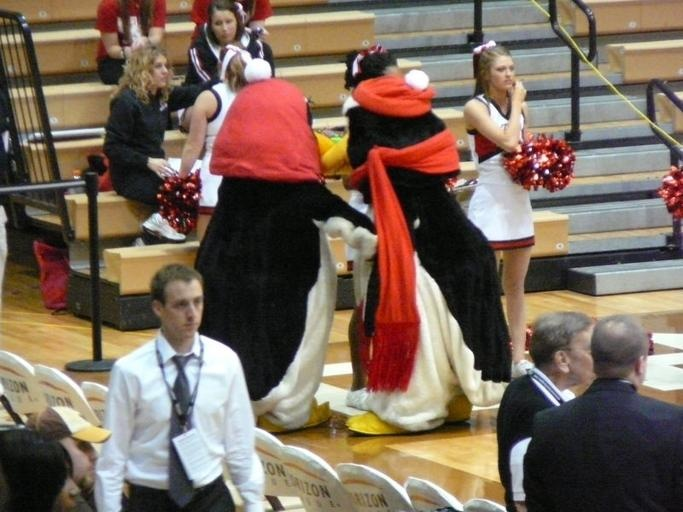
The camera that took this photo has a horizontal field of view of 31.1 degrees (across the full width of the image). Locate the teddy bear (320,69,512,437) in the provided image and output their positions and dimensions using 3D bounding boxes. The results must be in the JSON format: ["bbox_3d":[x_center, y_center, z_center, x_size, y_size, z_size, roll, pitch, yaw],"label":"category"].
[{"bbox_3d":[0.301,-0.092,6.227,1.041,1.687,0.889,-1,18,1],"label":"teddy bear"}]

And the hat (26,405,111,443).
[{"bbox_3d":[-1.001,0.622,4.496,0.226,0.086,0.140,14,3,-13],"label":"hat"}]

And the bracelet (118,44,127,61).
[{"bbox_3d":[-1.558,-1.443,8.782,0.033,0.091,0.077,1,40,13],"label":"bracelet"}]

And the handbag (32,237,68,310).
[{"bbox_3d":[-2.002,0.142,8.519,0.216,0.403,0.421,-6,15,-14],"label":"handbag"}]
